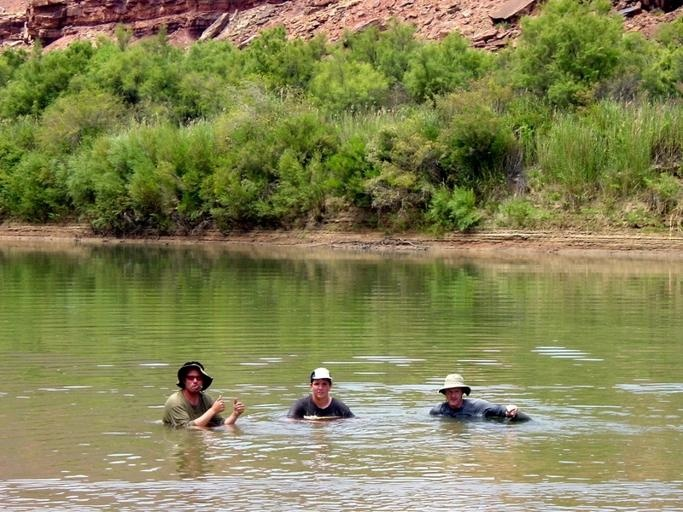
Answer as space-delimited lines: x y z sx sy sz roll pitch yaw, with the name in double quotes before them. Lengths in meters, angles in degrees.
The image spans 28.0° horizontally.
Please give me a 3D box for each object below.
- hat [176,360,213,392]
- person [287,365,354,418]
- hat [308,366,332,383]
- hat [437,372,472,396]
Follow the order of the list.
"hat" -3.314 2.536 30.830 0.641 0.272 0.823 4 -40 -6
"person" -0.449 3.183 31.266 1.544 1.100 0.858 0 -1 -14
"hat" -0.438 2.695 30.943 0.439 0.340 0.381 1 12 3
"hat" 2.641 2.890 31.415 0.524 0.320 0.621 -5 -23 1
